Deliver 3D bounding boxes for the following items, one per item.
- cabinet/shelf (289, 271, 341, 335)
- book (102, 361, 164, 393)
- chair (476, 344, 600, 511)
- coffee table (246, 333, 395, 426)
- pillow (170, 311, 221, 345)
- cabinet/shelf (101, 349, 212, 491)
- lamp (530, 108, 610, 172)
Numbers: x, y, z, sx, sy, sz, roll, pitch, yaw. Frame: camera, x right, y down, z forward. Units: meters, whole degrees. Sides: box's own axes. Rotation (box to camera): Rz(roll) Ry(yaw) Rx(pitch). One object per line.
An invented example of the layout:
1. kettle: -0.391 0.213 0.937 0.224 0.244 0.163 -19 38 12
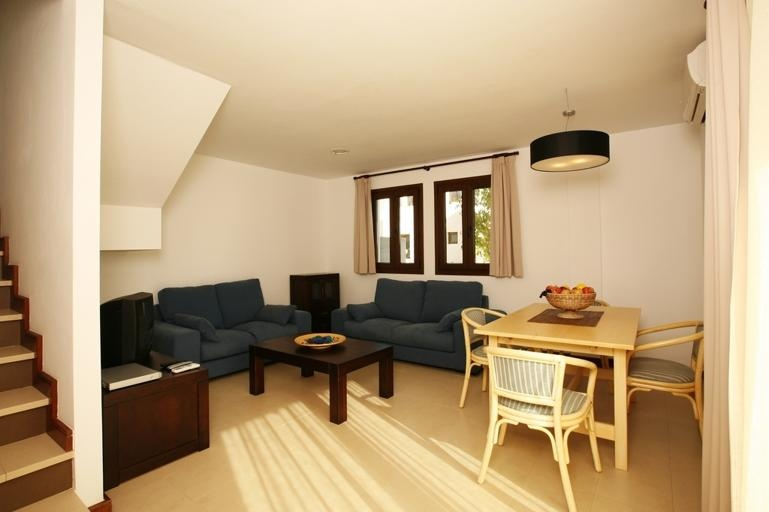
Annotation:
1. cabinet/shelf: -1.018 0.710 7.628 0.461 1.262 0.871 -1 2 29
2. book: -2.094 0.979 4.338 0.428 0.066 0.385 -10 15 -36
3. chair: 1.280 1.219 4.208 0.853 1.141 0.924 5 14 25
4. coffee table: -0.469 1.405 5.456 1.100 0.417 0.784 2 2 34
5. pillow: -2.154 0.814 6.013 0.604 0.268 0.281 10 16 40
6. cabinet/shelf: -1.861 1.352 4.303 0.793 0.583 0.785 -1 1 38
7. lamp: 1.777 -1.130 5.095 0.734 0.519 0.713 0 -3 -37
